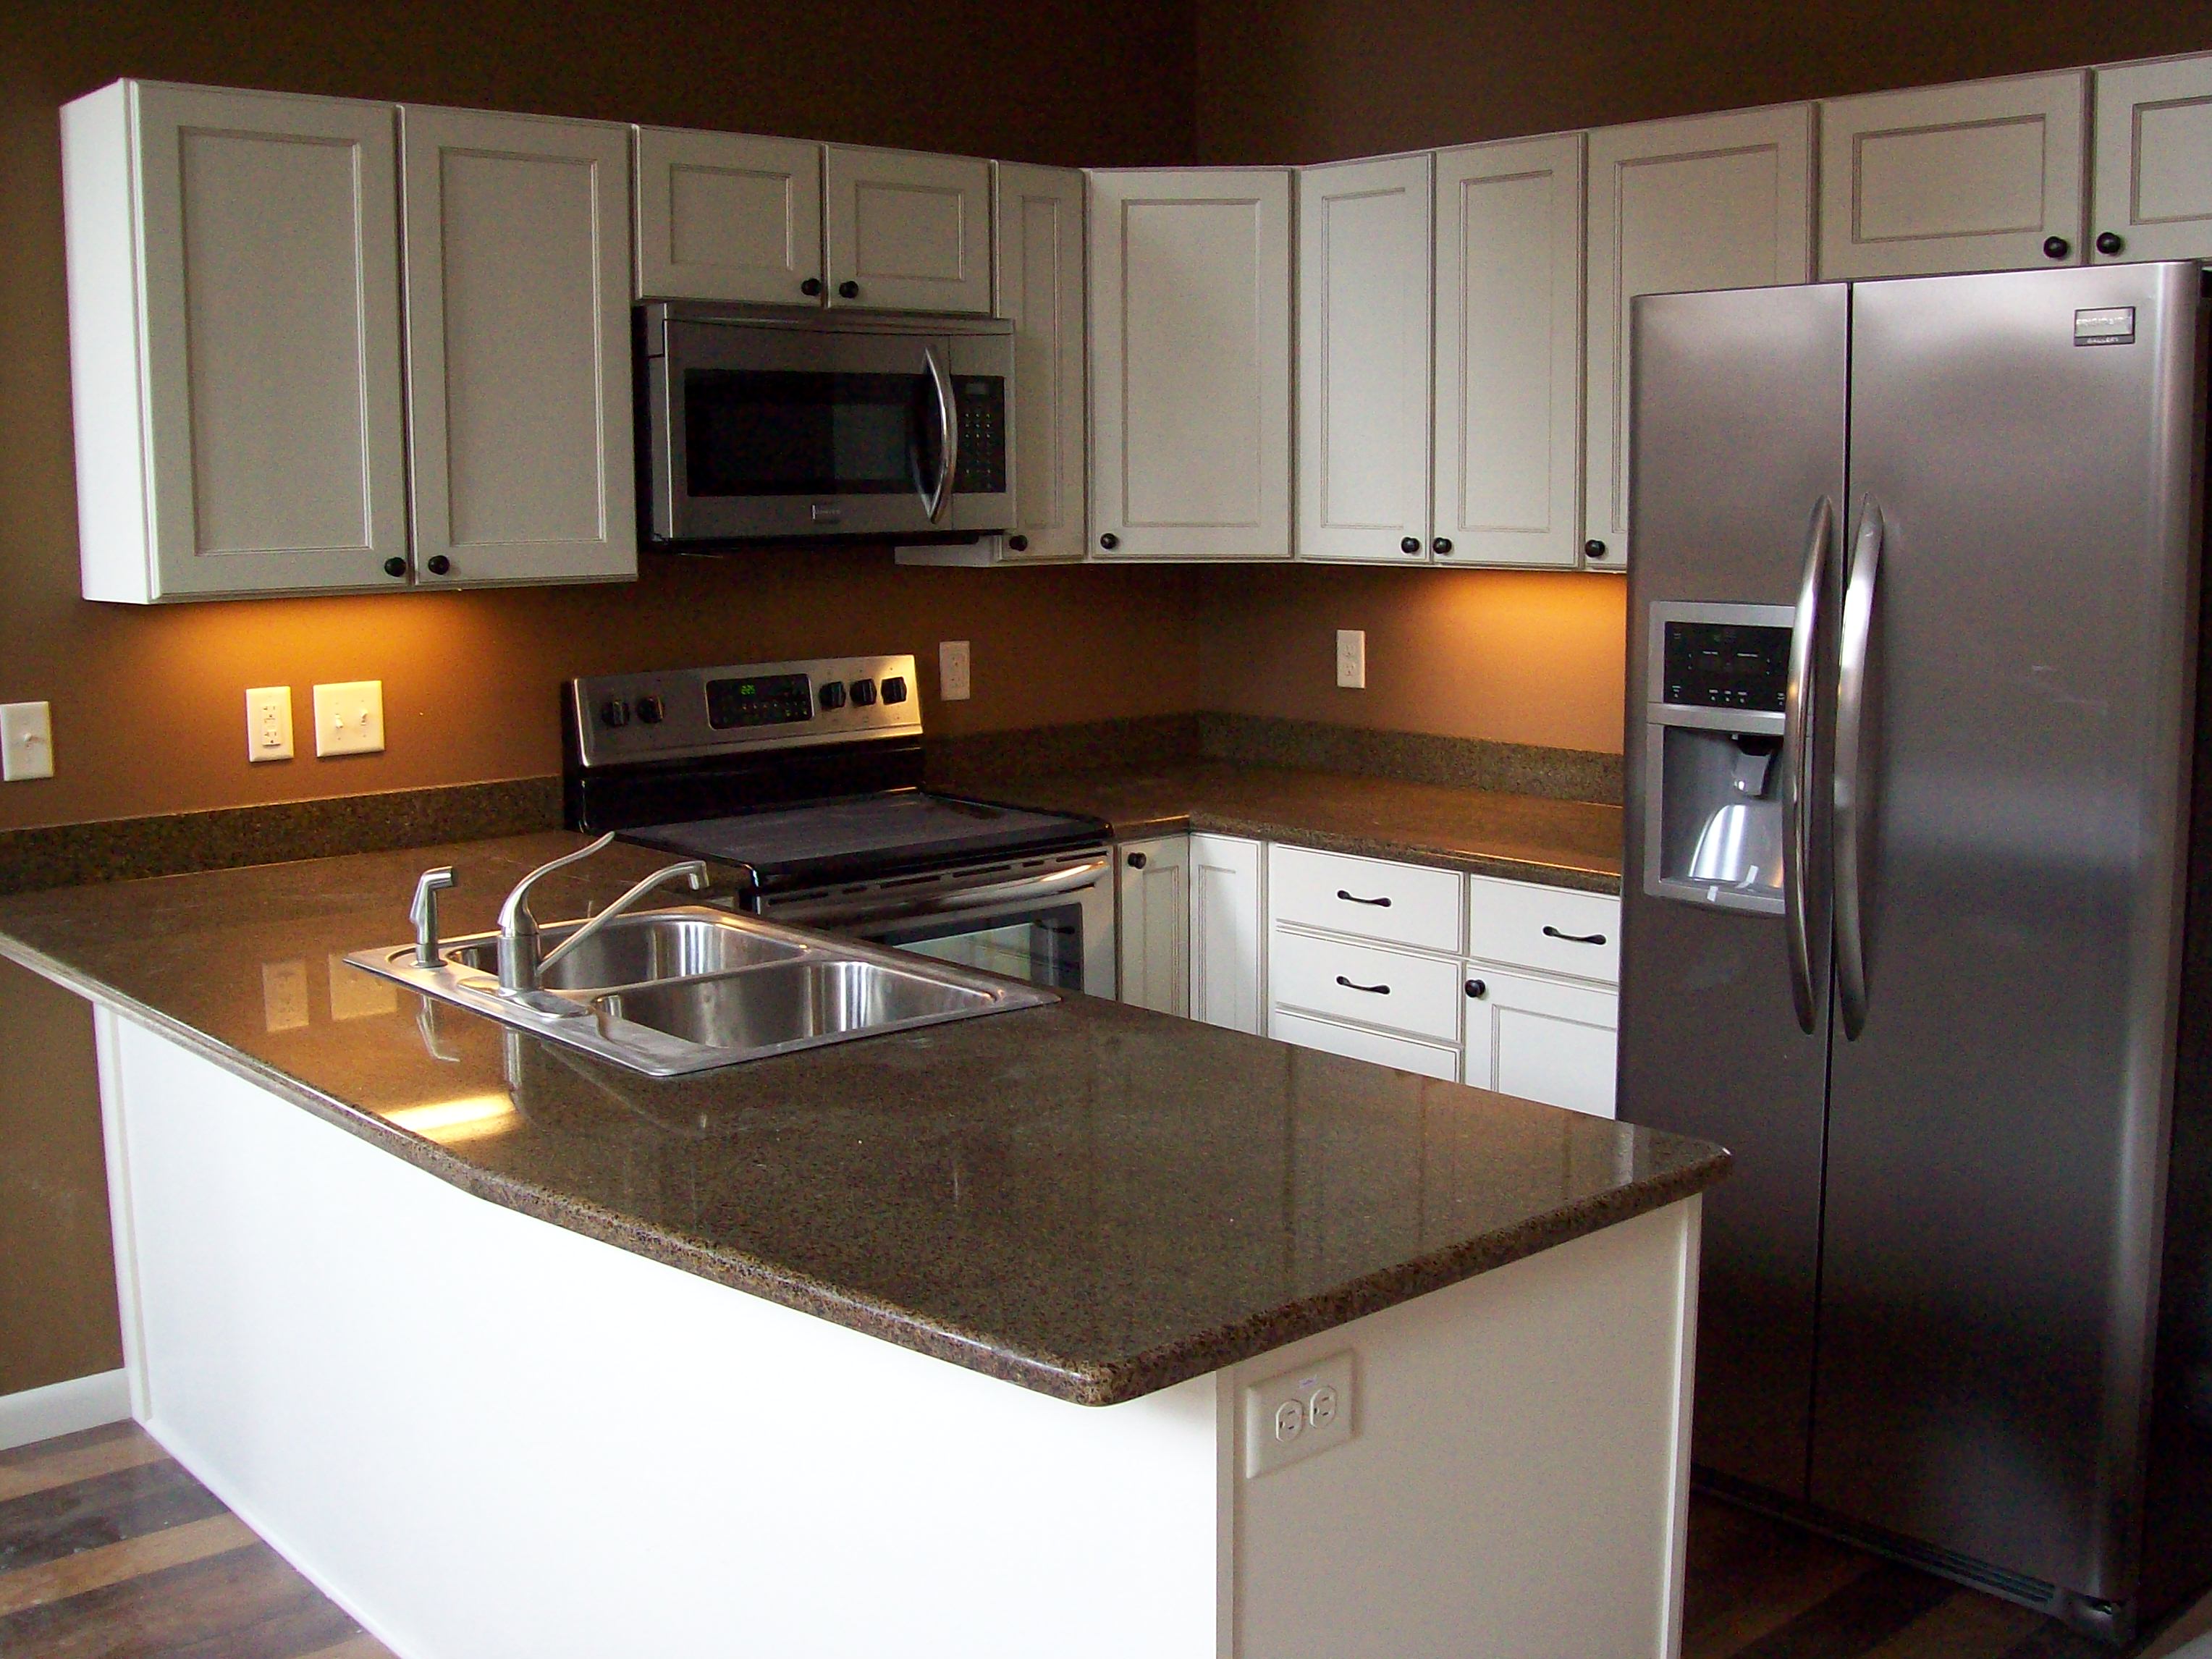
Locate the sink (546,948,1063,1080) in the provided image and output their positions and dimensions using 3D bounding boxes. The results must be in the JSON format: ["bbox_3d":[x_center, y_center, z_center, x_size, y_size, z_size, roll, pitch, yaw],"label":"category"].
[{"bbox_3d":[-0.589,0.258,2.942,0.439,0.166,0.376,5,2,29],"label":"sink"}]

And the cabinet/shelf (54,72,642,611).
[{"bbox_3d":[-1.457,-0.956,3.433,0.357,0.895,1.007,17,21,33],"label":"cabinet/shelf"}]

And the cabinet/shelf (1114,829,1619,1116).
[{"bbox_3d":[0.552,0.277,3.782,1.131,0.461,0.200,7,13,31],"label":"cabinet/shelf"}]
